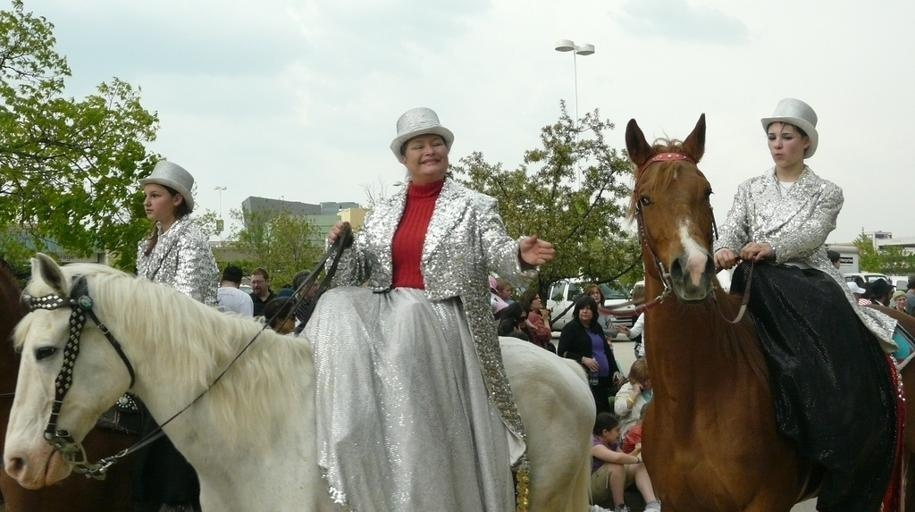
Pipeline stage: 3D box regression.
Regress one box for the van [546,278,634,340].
[{"bbox_3d":[3.714,1.494,30.603,1.840,1.561,2.924,1,-10,-26],"label":"van"}]
